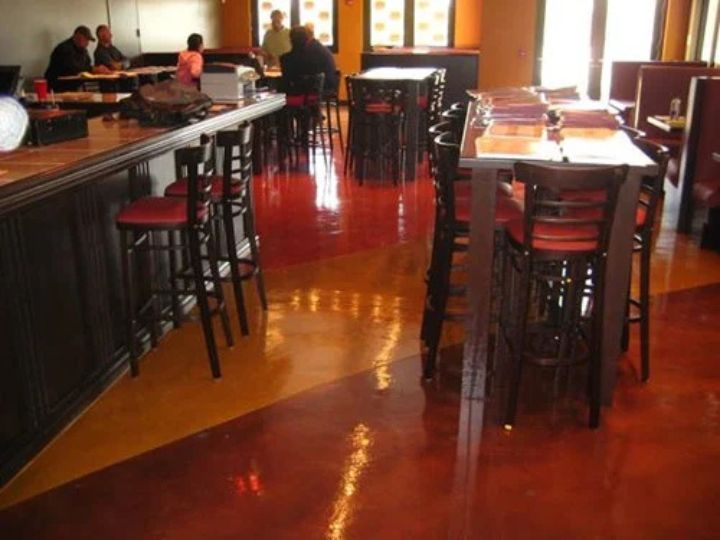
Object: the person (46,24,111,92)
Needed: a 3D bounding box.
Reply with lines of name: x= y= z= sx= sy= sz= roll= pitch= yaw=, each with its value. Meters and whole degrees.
person: x=-4.048 y=-2.928 z=7.733 sx=0.635 sy=0.850 sz=1.046 roll=-6 pitch=20 yaw=-15
